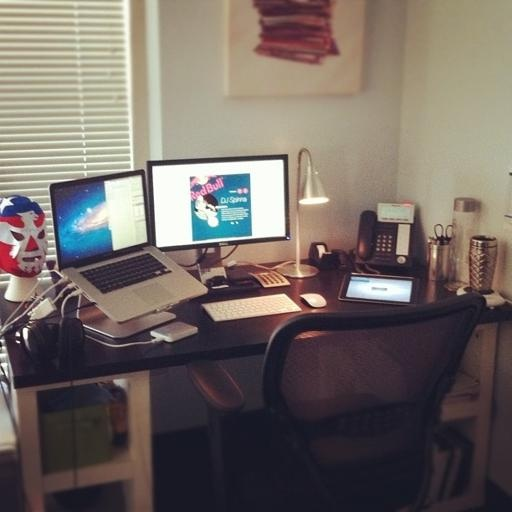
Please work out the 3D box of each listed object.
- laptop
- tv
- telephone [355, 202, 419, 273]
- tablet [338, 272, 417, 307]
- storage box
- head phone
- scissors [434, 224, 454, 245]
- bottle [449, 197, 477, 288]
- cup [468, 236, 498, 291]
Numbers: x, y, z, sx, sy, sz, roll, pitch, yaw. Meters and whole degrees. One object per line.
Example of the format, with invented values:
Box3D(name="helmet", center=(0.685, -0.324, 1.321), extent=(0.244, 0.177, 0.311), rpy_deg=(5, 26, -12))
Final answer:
Box3D(name="laptop", center=(-0.363, -0.045, 1.469), extent=(0.368, 0.278, 0.344), rpy_deg=(29, 33, 30))
Box3D(name="tv", center=(-0.123, -0.185, 1.836), extent=(0.514, 0.353, 0.031), rpy_deg=(-4, -15, -2))
Box3D(name="telephone", center=(0.524, -0.075, 2.008), extent=(0.208, 0.296, 0.113), rpy_deg=(5, -8, 23))
Box3D(name="tablet", center=(0.410, 0.119, 1.687), extent=(0.122, 0.010, 0.092), rpy_deg=(5, 44, 9))
Box3D(name="storage box", center=(-0.511, 0.465, 1.419), extent=(0.193, 0.179, 0.320), rpy_deg=(-5, 12, -18))
Box3D(name="head phone", center=(-0.515, 0.215, 1.250), extent=(0.125, 0.059, 0.124), rpy_deg=(-11, 23, -33))
Box3D(name="scissors", center=(0.704, -0.070, 1.878), extent=(0.079, 0.083, 0.019), rpy_deg=(0, -16, -3))
Box3D(name="bottle", center=(0.737, -0.045, 1.781), extent=(0.108, 0.287, 0.125), rpy_deg=(0, 9, -2))
Box3D(name="cup", center=(0.752, 0.033, 1.658), extent=(0.091, 0.176, 0.095), rpy_deg=(-1, 9, 0))
